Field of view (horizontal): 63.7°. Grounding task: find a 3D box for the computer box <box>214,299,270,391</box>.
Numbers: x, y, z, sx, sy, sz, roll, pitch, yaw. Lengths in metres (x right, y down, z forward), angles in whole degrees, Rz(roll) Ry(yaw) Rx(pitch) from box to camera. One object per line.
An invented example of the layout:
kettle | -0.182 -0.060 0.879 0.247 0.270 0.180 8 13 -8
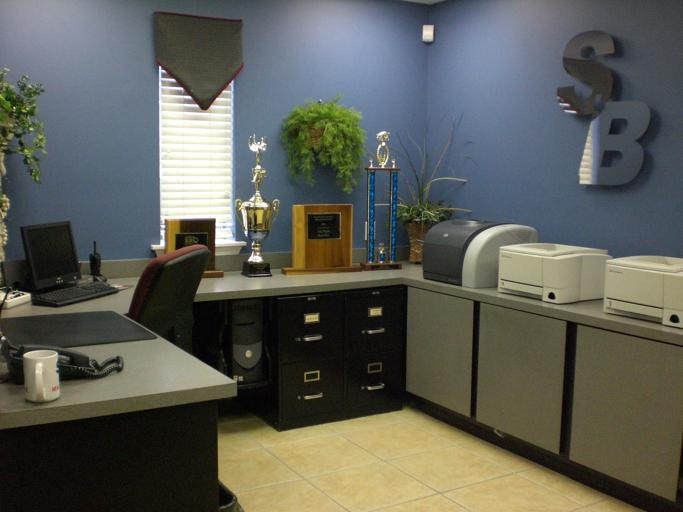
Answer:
computer box | -0.612 0.546 3.456 0.296 0.560 0.180 -2 11 -14

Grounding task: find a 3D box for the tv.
tv | -1.659 0.005 3.114 0.053 0.414 0.350 -4 6 30

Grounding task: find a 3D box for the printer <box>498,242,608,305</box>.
printer | 1.187 0.055 3.168 0.385 0.353 0.497 -2 8 -23
